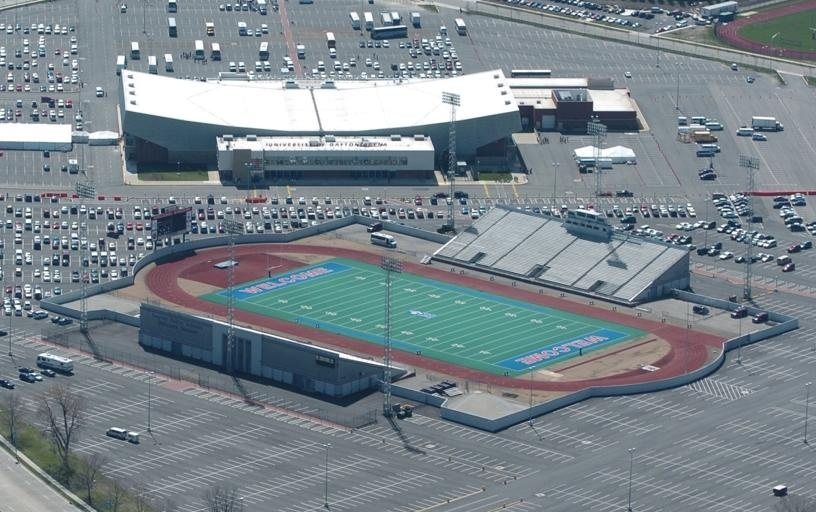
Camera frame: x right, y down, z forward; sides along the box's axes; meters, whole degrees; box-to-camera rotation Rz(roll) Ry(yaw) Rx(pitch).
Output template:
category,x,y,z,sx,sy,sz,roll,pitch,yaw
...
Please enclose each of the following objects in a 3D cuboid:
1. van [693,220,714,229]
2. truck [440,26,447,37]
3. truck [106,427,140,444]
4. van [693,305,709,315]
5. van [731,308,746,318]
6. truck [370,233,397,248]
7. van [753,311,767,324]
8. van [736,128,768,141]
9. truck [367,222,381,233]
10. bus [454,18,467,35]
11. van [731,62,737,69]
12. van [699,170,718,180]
category,x,y,z,sx,sy,sz,roll,pitch,yaw
van,64.289,-7.241,487.780,3.202,0.832,2.090,-1,13,-17
truck,9.382,-57.171,564.372,1.459,1.082,2.655,-5,36,-5
truck,-50.315,32.065,405.817,6.343,2.087,2.134,6,21,24
van,58.123,10.491,446.520,2.255,1.138,2.131,-7,17,-35
van,65.166,10.892,445.282,3.352,1.321,1.690,-19,31,-27
truck,-4.734,-4.146,474.369,6.520,2.594,2.348,13,37,23
van,69.329,11.850,443.476,3.558,1.920,1.678,-14,22,-32
van,79.668,-28.996,523.396,6.979,2.059,4.338,5,19,21
truck,-6.767,-6.578,479.803,1.873,1.422,3.104,20,28,40
bus,13.529,-58.429,566.663,2.155,1.300,5.644,0,37,-2
van,80.028,-47.183,553.822,0.842,0.715,2.713,-2,21,4
van,67.575,-18.654,507.489,3.047,0.828,2.582,-6,37,-3
